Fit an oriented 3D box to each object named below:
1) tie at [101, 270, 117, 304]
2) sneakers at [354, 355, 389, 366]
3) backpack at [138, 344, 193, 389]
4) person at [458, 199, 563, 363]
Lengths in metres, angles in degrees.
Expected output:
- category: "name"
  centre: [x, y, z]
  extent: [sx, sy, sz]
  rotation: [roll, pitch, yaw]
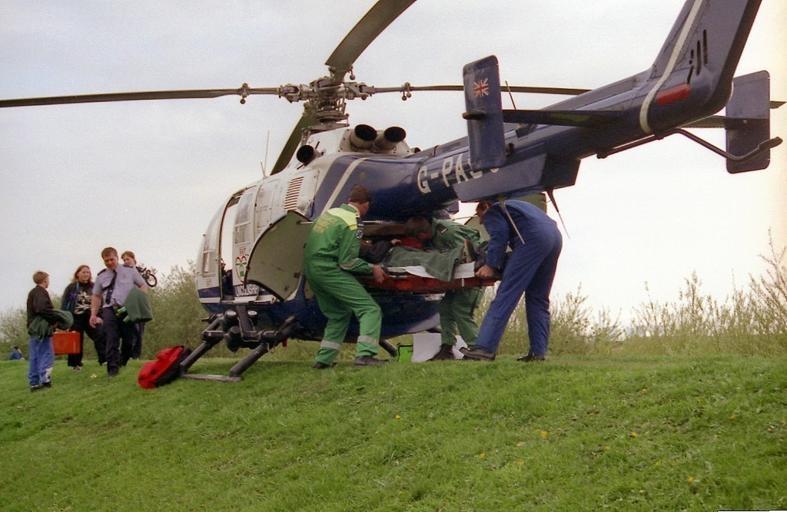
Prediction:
- category: "tie"
  centre: [-4.635, 0.520, 11.651]
  extent: [0.159, 0.518, 0.090]
  rotation: [19, -20, 2]
- category: "sneakers"
  centre: [-0.288, 1.397, 9.450]
  extent: [0.507, 0.203, 0.150]
  rotation: [-2, 0, -3]
- category: "backpack"
  centre: [-3.423, 1.687, 10.517]
  extent: [0.747, 0.420, 0.193]
  rotation: [-28, -51, 4]
- category: "person"
  centre: [1.617, 0.311, 9.084]
  extent: [1.375, 1.766, 0.654]
  rotation: [-8, 2, -31]
